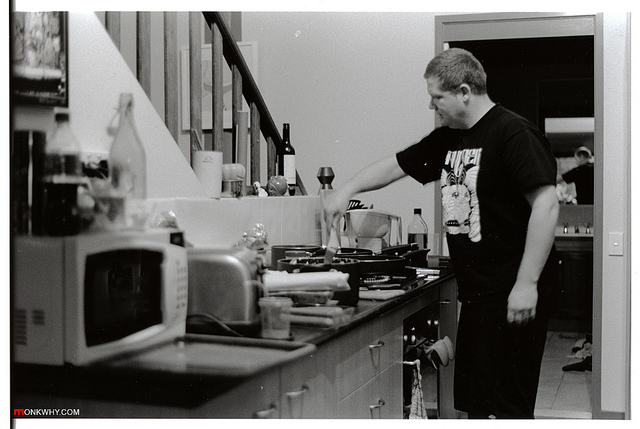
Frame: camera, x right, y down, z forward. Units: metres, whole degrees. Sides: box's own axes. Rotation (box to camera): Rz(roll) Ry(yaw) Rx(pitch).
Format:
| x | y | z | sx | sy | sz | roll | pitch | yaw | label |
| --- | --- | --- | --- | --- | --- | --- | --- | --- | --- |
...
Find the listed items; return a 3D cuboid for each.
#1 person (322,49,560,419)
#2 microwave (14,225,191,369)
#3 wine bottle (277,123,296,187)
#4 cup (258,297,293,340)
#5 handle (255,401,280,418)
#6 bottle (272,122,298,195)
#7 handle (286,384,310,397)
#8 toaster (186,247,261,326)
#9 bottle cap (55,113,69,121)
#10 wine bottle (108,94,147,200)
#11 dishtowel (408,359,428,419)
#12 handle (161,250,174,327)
| x | y | z | sx | sy | sz | roll | pitch | yaw | label |
| --- | --- | --- | --- | --- | --- | --- | --- | --- | --- |
| 0.626 | 0.309 | 3.269 | 1.030 | 2.030 | 0.627 | -2 | 1 | 33 | person |
| -0.813 | 0.264 | 2.722 | 0.644 | 0.503 | 0.514 | 0 | 1 | 14 | microwave |
| -0.182 | -0.301 | 3.529 | 0.120 | 0.321 | 0.134 | 0 | -1 | 18 | wine bottle |
| -0.164 | 0.385 | 2.551 | 0.125 | 0.145 | 0.134 | 0 | -4 | 0 | cup |
| -0.190 | 0.716 | 2.514 | 0.086 | 0.054 | 0.033 | 1 | -1 | -7 | handle |
| -0.170 | -0.278 | 3.540 | 0.111 | 0.375 | 0.110 | -2 | 2 | 0 | bottle |
| -0.078 | 0.653 | 2.548 | 0.093 | 0.039 | 0.022 | 1 | -1 | -23 | handle |
| -0.398 | 0.293 | 2.670 | 0.353 | 0.352 | 0.216 | 0 | 10 | 15 | toaster |
| -1.085 | -0.404 | 2.871 | 0.057 | 0.035 | 0.012 | -3 | -1 | 23 | bottle cap |
| -0.808 | -0.284 | 2.878 | 0.155 | 0.445 | 0.082 | 1 | -1 | -16 | wine bottle |
| 0.460 | 0.795 | 3.168 | 0.071 | 0.282 | 0.330 | 0 | -1 | 12 | dishtowel |
| -0.581 | 0.298 | 2.555 | 0.024 | 0.249 | 0.057 | -3 | 0 | 0 | handle |
